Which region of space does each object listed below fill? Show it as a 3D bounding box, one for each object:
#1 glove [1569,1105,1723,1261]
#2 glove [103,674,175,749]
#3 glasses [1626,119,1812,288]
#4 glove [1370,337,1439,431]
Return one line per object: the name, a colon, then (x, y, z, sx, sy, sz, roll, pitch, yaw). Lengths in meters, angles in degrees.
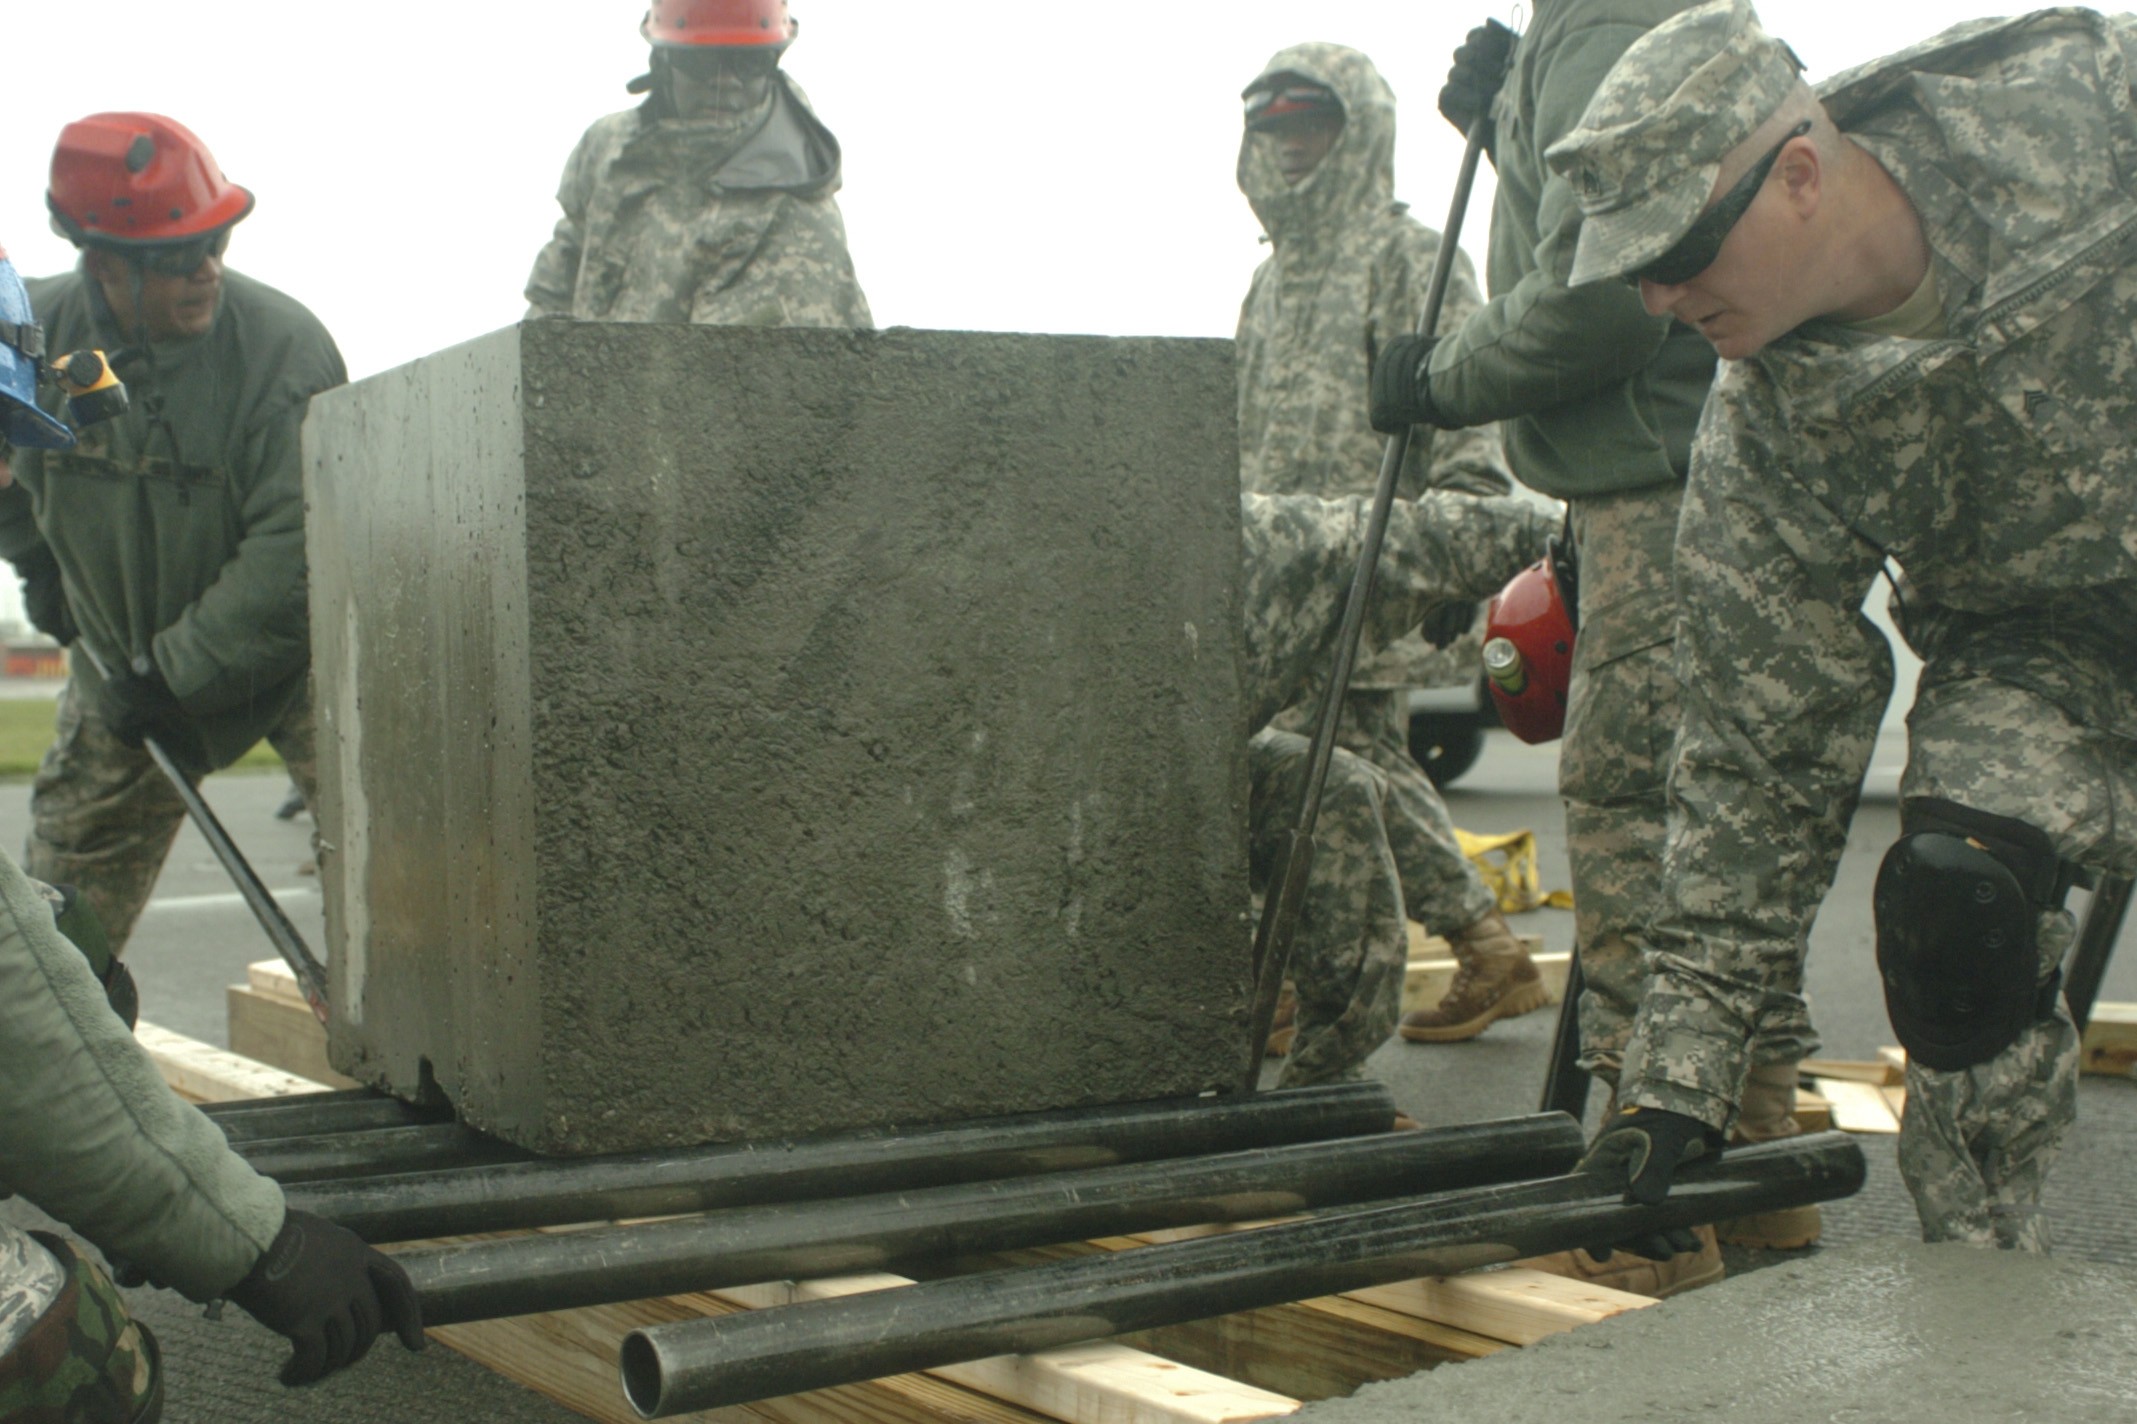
glove: (0.972, 0.808, 4.369, 0.307, 0.271, 0.187, -3, -1, -41)
glove: (-2.119, 0.000, 6.030, 0.204, 0.177, 0.148, -1, -8, -5)
glasses: (1.062, -0.802, 4.267, 0.299, 0.091, 0.233, -46, -1, 17)
glove: (0.666, -0.675, 5.294, 0.160, 0.182, 0.084, 6, 0, 41)
